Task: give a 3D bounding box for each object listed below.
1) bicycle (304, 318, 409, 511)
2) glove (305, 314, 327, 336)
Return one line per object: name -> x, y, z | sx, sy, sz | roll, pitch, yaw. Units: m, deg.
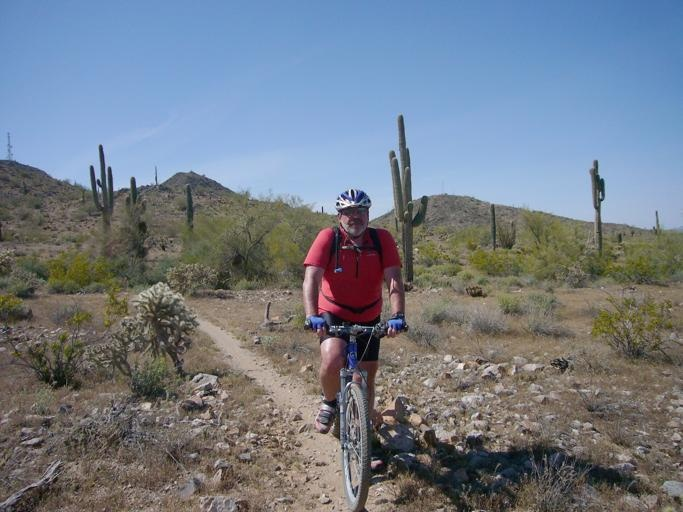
bicycle -> 0.147, 2.279, 8.354 | 0.732, 2.498, 1.212 | -1, 13, -1
glove -> -0.364, 1.003, 8.479 | 0.304, 0.301, 0.287 | -1, 14, -3
